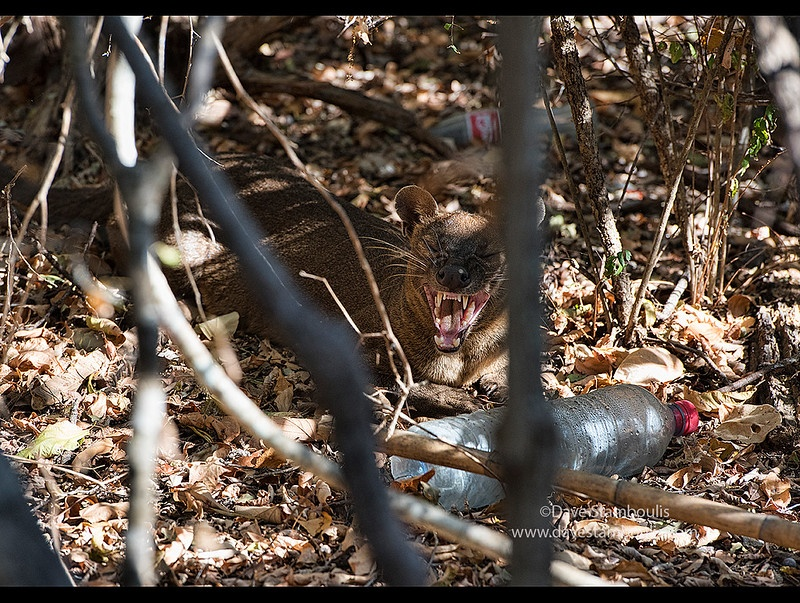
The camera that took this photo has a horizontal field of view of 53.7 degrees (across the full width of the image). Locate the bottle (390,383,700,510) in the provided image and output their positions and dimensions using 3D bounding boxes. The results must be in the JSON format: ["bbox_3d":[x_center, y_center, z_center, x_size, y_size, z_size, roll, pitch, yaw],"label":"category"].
[{"bbox_3d":[0.592,0.565,2.988,1.233,0.288,0.301,-4,22,-16],"label":"bottle"}]
